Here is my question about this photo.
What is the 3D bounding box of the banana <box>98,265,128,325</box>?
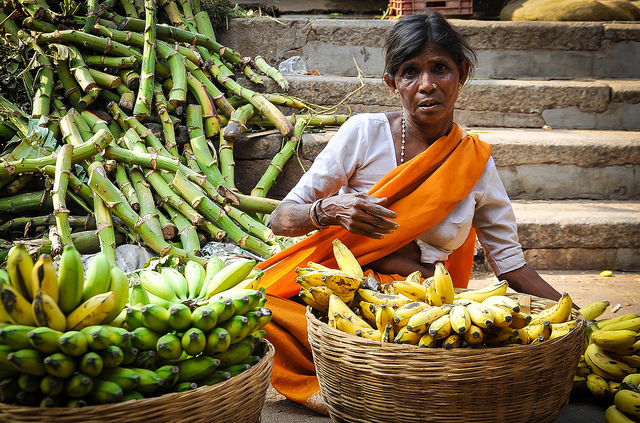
[{"bbox_3d":[-0.996,0.384,2.900,0.094,0.273,0.192,15,11,-38],"label":"banana"}]

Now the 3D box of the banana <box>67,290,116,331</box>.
[{"bbox_3d":[-1.044,0.460,2.826,0.310,0.094,0.101,-38,-1,28],"label":"banana"}]

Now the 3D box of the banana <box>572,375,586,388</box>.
[{"bbox_3d":[1.485,0.951,3.522,0.070,0.059,0.082,5,14,25],"label":"banana"}]

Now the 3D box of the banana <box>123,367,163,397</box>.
[{"bbox_3d":[-0.763,0.790,2.851,0.261,0.069,0.088,23,31,-28],"label":"banana"}]

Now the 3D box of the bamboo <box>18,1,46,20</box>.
[{"bbox_3d":[-2.317,-1.627,4.963,0.164,0.108,0.072,36,29,23],"label":"bamboo"}]

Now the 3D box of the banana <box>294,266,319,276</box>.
[{"bbox_3d":[-0.069,0.324,3.352,0.144,0.038,0.050,-6,41,2],"label":"banana"}]

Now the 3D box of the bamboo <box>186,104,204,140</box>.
[{"bbox_3d":[-1.013,-0.736,5.031,0.107,0.345,0.114,8,-36,-16],"label":"bamboo"}]

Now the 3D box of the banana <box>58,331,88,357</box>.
[{"bbox_3d":[-1.089,0.587,2.770,0.088,0.092,0.125,23,-2,39],"label":"banana"}]

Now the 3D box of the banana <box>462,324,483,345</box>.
[{"bbox_3d":[0.715,0.577,2.892,0.074,0.062,0.103,-25,-13,2],"label":"banana"}]

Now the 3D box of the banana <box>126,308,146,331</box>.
[{"bbox_3d":[-0.856,0.496,2.898,0.047,0.126,0.083,-13,7,-2],"label":"banana"}]

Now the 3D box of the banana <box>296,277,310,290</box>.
[{"bbox_3d":[-0.090,0.385,3.325,0.030,0.107,0.035,-39,16,26],"label":"banana"}]

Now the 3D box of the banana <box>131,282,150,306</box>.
[{"bbox_3d":[-0.874,0.404,2.979,0.057,0.151,0.046,-5,-15,-22],"label":"banana"}]

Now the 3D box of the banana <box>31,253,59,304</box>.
[{"bbox_3d":[-1.225,0.290,2.748,0.071,0.250,0.085,-7,8,-16],"label":"banana"}]

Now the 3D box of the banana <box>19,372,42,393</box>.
[{"bbox_3d":[-1.290,0.759,2.744,0.077,0.098,0.055,-23,52,-4],"label":"banana"}]

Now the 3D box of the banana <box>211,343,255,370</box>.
[{"bbox_3d":[-0.488,0.695,2.974,0.331,0.103,0.087,2,5,-14],"label":"banana"}]

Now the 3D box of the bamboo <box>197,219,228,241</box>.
[{"bbox_3d":[-0.807,0.133,4.641,0.194,0.058,0.063,32,-16,17],"label":"bamboo"}]

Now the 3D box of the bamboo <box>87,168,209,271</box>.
[{"bbox_3d":[-1.211,0.068,4.341,0.190,0.830,0.224,-44,22,0],"label":"bamboo"}]

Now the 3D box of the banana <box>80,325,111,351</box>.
[{"bbox_3d":[-0.986,0.565,2.739,0.149,0.080,0.075,8,-7,21],"label":"banana"}]

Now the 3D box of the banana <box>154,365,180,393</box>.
[{"bbox_3d":[-0.698,0.771,2.849,0.060,0.115,0.178,11,-35,-17],"label":"banana"}]

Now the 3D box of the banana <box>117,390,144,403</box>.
[{"bbox_3d":[-0.851,0.833,2.793,0.056,0.054,0.032,26,9,-20],"label":"banana"}]

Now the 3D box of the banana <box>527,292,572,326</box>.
[{"bbox_3d":[1.236,0.515,3.247,0.088,0.178,0.276,-22,-14,-21],"label":"banana"}]

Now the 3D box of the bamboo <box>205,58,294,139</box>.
[{"bbox_3d":[-0.634,-0.975,5.421,0.218,0.171,1.101,-27,57,-37],"label":"bamboo"}]

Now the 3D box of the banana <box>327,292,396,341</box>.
[{"bbox_3d":[0.212,0.536,3.121,0.084,0.169,0.264,-23,36,-36],"label":"banana"}]

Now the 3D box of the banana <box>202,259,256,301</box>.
[{"bbox_3d":[-0.458,0.353,3.108,0.225,0.080,0.060,-31,47,-14],"label":"banana"}]

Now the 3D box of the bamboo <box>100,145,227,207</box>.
[{"bbox_3d":[-1.105,-0.313,4.569,0.905,0.133,0.148,19,40,-8],"label":"bamboo"}]

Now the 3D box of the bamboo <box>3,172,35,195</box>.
[{"bbox_3d":[-2.307,-0.216,4.701,0.210,0.050,0.058,-36,5,-28],"label":"bamboo"}]

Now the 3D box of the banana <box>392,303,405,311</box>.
[{"bbox_3d":[0.401,0.486,3.144,0.039,0.034,0.031,24,0,25],"label":"banana"}]

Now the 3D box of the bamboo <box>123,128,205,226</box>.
[{"bbox_3d":[-1.188,-0.238,4.637,0.204,0.857,0.175,-40,-8,13],"label":"bamboo"}]

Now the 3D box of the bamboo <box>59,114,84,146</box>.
[{"bbox_3d":[-1.895,-0.624,4.697,0.238,0.068,0.235,5,52,9],"label":"bamboo"}]

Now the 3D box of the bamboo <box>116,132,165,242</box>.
[{"bbox_3d":[-1.347,-0.172,4.720,0.226,0.980,0.175,-24,-22,-1],"label":"bamboo"}]

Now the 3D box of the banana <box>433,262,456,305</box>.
[{"bbox_3d":[0.618,0.362,3.189,0.124,0.087,0.247,8,37,-7],"label":"banana"}]

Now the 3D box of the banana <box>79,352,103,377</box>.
[{"bbox_3d":[-1.014,0.677,2.733,0.083,0.107,0.064,-4,49,-6],"label":"banana"}]

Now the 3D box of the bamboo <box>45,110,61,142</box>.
[{"bbox_3d":[-2.078,-0.667,4.814,0.068,0.248,0.074,-5,-14,37],"label":"bamboo"}]

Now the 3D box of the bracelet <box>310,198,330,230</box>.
[{"bbox_3d":[0.004,0.017,3.541,0.125,0.187,0.072,1,11,-11],"label":"bracelet"}]

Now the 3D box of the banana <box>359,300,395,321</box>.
[{"bbox_3d":[0.307,0.508,3.197,0.240,0.084,0.066,5,-34,41],"label":"banana"}]

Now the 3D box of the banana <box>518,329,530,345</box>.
[{"bbox_3d":[0.987,0.602,2.967,0.056,0.066,0.032,-9,21,2],"label":"banana"}]

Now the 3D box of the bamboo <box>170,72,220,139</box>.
[{"bbox_3d":[-0.982,-0.872,5.034,0.277,0.671,0.201,-20,-8,-4],"label":"bamboo"}]

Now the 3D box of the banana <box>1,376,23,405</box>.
[{"bbox_3d":[-1.383,0.796,2.766,0.045,0.127,0.085,6,-5,4],"label":"banana"}]

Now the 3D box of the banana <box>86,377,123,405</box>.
[{"bbox_3d":[-0.975,0.822,2.784,0.177,0.114,0.056,13,-24,-10],"label":"banana"}]

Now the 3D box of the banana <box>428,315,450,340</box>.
[{"bbox_3d":[0.564,0.546,2.894,0.059,0.057,0.124,-4,16,36],"label":"banana"}]

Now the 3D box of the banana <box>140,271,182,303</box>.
[{"bbox_3d":[-0.834,0.384,3.091,0.288,0.088,0.086,33,17,-42],"label":"banana"}]

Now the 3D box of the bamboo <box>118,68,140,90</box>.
[{"bbox_3d":[-1.581,-1.120,5.110,0.129,0.094,0.208,-18,51,-35],"label":"bamboo"}]

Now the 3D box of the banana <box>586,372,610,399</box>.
[{"bbox_3d":[1.536,0.959,3.401,0.088,0.134,0.081,-43,-10,16],"label":"banana"}]

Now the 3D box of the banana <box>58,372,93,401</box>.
[{"bbox_3d":[-1.109,0.768,2.780,0.113,0.062,0.189,-26,-17,-24],"label":"banana"}]

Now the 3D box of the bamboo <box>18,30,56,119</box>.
[{"bbox_3d":[-2.269,-1.111,4.938,0.207,0.790,0.186,10,-21,-27],"label":"bamboo"}]
